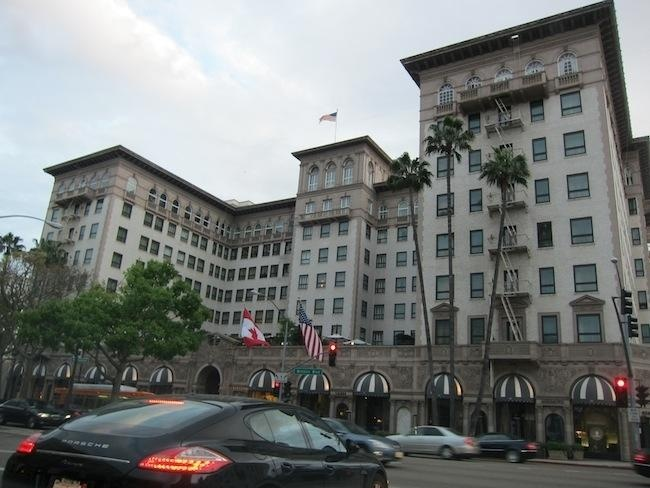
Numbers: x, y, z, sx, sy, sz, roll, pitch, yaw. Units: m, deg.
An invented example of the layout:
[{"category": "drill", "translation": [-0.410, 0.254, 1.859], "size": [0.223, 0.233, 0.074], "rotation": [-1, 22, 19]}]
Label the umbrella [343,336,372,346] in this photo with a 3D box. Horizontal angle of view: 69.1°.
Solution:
[{"category": "umbrella", "translation": [3.817, 9.648, 48.049], "size": [2.386, 0.634, 1.581], "rotation": [21, -26, -35]}]

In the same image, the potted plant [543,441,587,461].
[{"category": "potted plant", "translation": [17.327, 14.939, 34.055], "size": [1.878, 0.735, 1.561], "rotation": [2, -26, 1]}]

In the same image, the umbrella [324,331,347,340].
[{"category": "umbrella", "translation": [1.331, 10.644, 55.563], "size": [1.873, 0.609, 1.904], "rotation": [-14, -23, 34]}]

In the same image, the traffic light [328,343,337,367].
[{"category": "traffic light", "translation": [0.490, 7.032, 30.396], "size": [0.482, 1.432, 0.963], "rotation": [9, -8, 1]}]

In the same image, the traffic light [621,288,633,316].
[{"category": "traffic light", "translation": [17.163, 3.242, 26.744], "size": [0.469, 1.300, 0.771], "rotation": [5, -9, 24]}]
